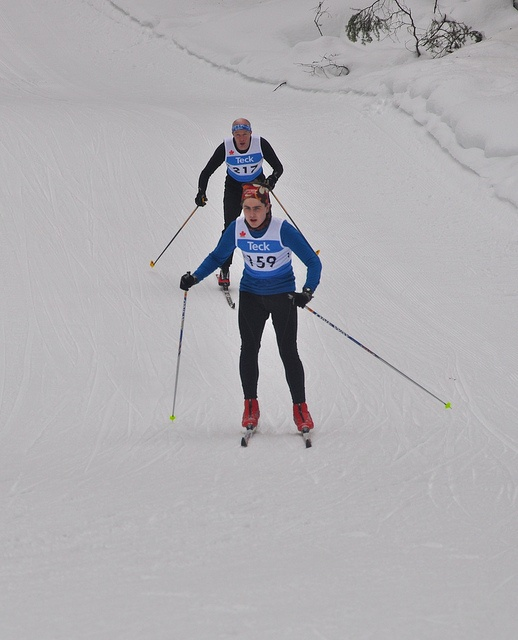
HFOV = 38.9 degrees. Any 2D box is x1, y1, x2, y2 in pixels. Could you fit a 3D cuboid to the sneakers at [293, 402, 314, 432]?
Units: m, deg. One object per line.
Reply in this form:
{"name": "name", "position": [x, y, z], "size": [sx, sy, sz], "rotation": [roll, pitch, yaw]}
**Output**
{"name": "sneakers", "position": [0.261, 0.584, 4.406], "size": [0.107, 0.178, 0.185], "rotation": [-10, -17, -2]}

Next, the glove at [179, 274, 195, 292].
{"name": "glove", "position": [-0.412, -0.226, 4.382], "size": [0.109, 0.100, 0.078], "rotation": [-15, 17, -40]}

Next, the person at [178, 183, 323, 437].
{"name": "person", "position": [0.098, -0.032, 4.203], "size": [0.493, 1.483, 0.323], "rotation": [0, 15, 12]}

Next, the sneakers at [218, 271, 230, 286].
{"name": "sneakers", "position": [-0.302, -0.358, 6.327], "size": [0.063, 0.115, 0.176], "rotation": [1, 28, -3]}

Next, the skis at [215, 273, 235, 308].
{"name": "skis", "position": [-0.289, -0.270, 6.263], "size": [0.077, 0.071, 0.521], "rotation": [5, 38, -22]}

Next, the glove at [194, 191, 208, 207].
{"name": "glove", "position": [-0.472, -0.987, 5.985], "size": [0.101, 0.128, 0.061], "rotation": [-2, -11, -3]}

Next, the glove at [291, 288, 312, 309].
{"name": "glove", "position": [0.238, -0.124, 4.044], "size": [0.089, 0.110, 0.043], "rotation": [-1, 34, -38]}
